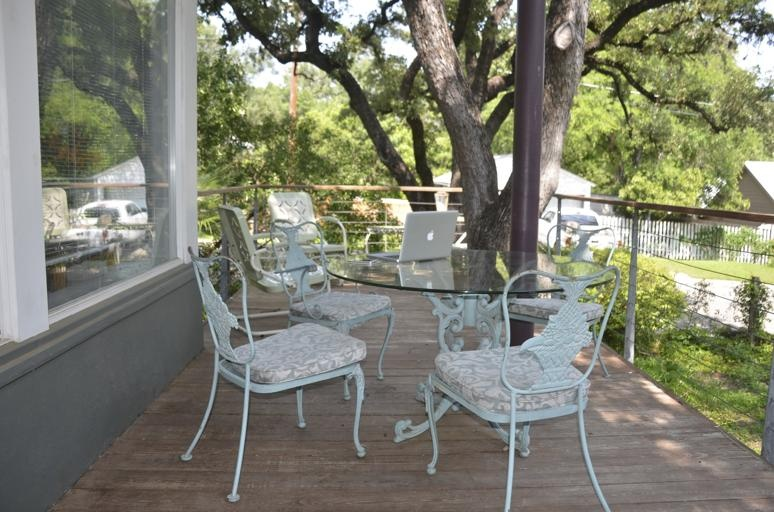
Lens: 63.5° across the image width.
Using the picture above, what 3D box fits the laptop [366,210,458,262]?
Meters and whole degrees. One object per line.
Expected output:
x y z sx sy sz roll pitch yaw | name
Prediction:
0.183 -0.143 4.178 0.393 0.300 0.413 -5 12 -37 | laptop
